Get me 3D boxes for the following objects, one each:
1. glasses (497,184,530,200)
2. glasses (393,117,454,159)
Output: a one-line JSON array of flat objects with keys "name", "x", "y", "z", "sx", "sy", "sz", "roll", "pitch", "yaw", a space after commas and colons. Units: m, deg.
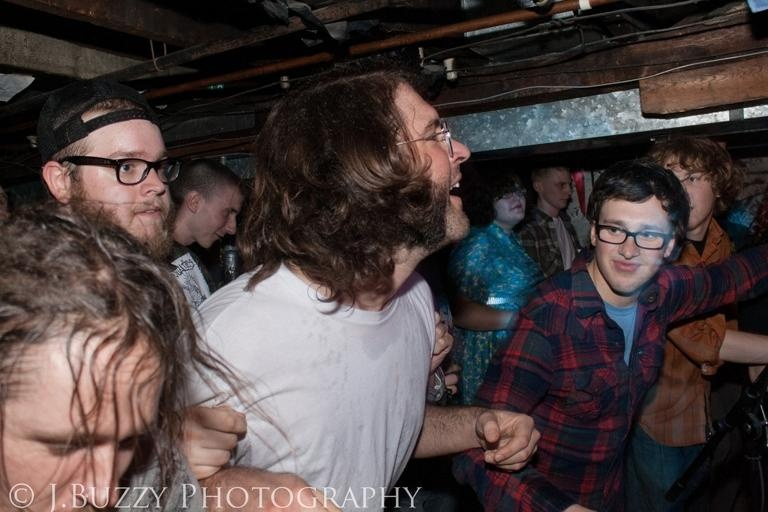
[{"name": "glasses", "x": 1.108, "y": -0.557, "z": 5.508, "sx": 0.201, "sy": 0.059, "sz": 0.184, "roll": -3, "pitch": -32, "yaw": -8}, {"name": "glasses", "x": 0.182, "y": -0.566, "z": 2.911, "sx": 0.217, "sy": 0.080, "sz": 0.201, "roll": -16, "pitch": 7, "yaw": -7}]
